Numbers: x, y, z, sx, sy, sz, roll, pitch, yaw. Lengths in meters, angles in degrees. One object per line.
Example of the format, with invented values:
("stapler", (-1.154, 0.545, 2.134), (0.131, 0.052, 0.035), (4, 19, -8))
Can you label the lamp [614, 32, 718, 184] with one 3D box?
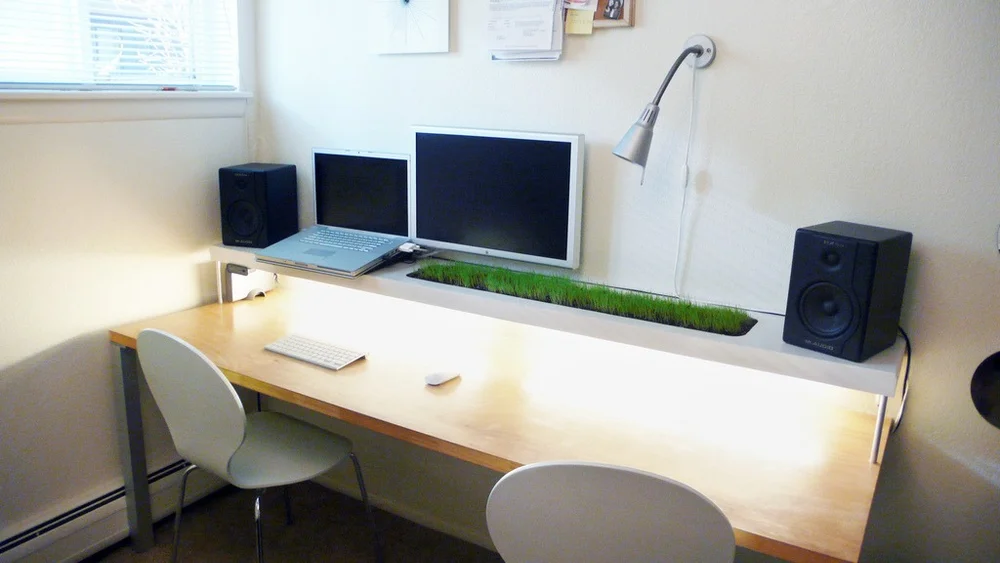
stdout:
("lamp", (0.647, -0.704, 2.745), (0.384, 0.612, 0.234), (-14, 24, -42))

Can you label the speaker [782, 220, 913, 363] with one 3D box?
("speaker", (1.315, 0.044, 2.507), (0.438, 0.455, 0.240), (5, 18, 6))

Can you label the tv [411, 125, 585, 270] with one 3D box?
("tv", (0.012, -0.402, 3.001), (0.687, 0.433, 0.065), (9, 19, 24))

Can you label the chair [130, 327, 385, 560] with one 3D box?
("chair", (-1.145, 0.741, 3.045), (0.638, 1.097, 0.707), (25, 35, 28))
